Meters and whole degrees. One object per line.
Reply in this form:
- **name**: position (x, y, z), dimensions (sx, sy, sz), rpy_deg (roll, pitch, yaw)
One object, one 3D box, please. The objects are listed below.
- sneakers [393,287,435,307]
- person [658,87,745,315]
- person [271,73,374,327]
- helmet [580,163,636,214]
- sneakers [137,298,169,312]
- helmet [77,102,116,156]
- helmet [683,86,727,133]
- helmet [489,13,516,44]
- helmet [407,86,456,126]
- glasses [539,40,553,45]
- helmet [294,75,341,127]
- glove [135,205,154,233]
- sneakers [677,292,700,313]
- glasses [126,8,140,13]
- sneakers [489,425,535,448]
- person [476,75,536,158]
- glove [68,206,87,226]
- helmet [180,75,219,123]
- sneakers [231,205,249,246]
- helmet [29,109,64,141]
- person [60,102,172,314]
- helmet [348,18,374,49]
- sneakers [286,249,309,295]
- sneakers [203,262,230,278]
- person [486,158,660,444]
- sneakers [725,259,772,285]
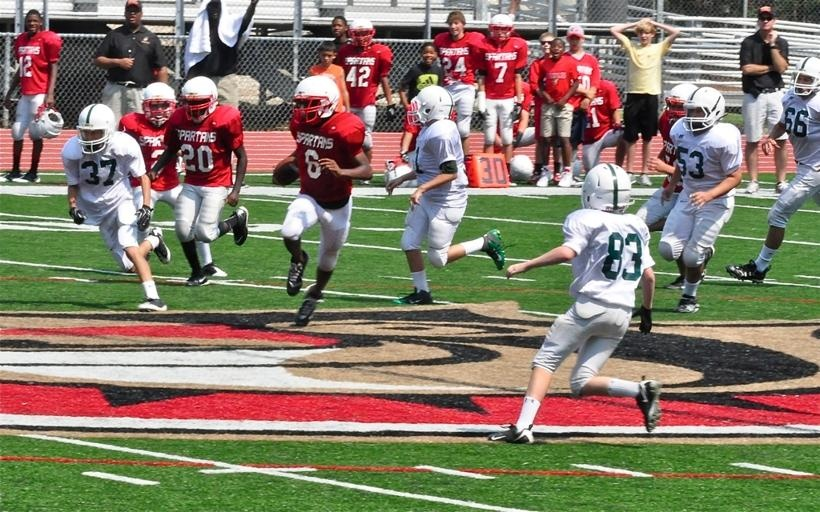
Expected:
- **sneakers**: position (0.045, 0.390, 13.136), dimensions (0.368, 0.159, 0.243), rpy_deg (3, 7, -1)
- **person**: position (2.810, -0.533, 12.998), dimensions (0.688, 2.156, 0.882), rpy_deg (6, 8, 1)
- **person**: position (-0.819, -0.510, 12.335), dimensions (0.835, 2.259, 0.855), rpy_deg (5, 8, -6)
- **helmet**: position (1.485, -0.493, 10.110), dimensions (0.476, 0.293, 0.438), rpy_deg (1, 5, 19)
- **sneakers**: position (-2.386, 0.452, 12.574), dimensions (0.283, 0.130, 0.168), rpy_deg (0, 8, -28)
- **helmet**: position (-3.042, -1.213, 13.056), dimensions (0.336, 0.473, 0.290), rpy_deg (4, 8, -11)
- **helmet**: position (2.810, -1.373, 12.832), dimensions (0.370, 0.420, 0.221), rpy_deg (6, 8, 7)
- **helmet**: position (1.317, -3.250, 19.427), dimensions (0.323, 0.404, 0.407), rpy_deg (5, 7, 1)
- **helmet**: position (0.214, -1.426, 12.964), dimensions (0.396, 0.381, 0.228), rpy_deg (4, 8, -2)
- **glasses**: position (2.033, -3.144, 20.009), dimensions (0.104, 0.024, 0.110), rpy_deg (2, 1, 45)
- **helmet**: position (-0.837, -1.391, 12.123), dimensions (0.401, 0.430, 0.287), rpy_deg (4, 8, -4)
- **glove**: position (-2.536, -0.348, 12.904), dimensions (0.291, 0.244, 0.126), rpy_deg (-2, -13, -20)
- **sneakers**: position (2.673, 0.475, 12.970), dimensions (0.132, 0.099, 0.299), rpy_deg (-1, 0, 28)
- **glasses**: position (-3.717, -3.269, 18.078), dimensions (0.128, 0.033, 0.139), rpy_deg (-1, 1, 0)
- **sneakers**: position (0.744, 1.278, 9.709), dimensions (0.401, 0.101, 0.115), rpy_deg (3, -5, 9)
- **person**: position (1.497, -2.021, 20.329), dimensions (0.817, 1.082, 0.507), rpy_deg (2, 1, 13)
- **glove**: position (-3.219, -0.403, 13.024), dimensions (0.120, 0.088, 0.254), rpy_deg (1, 22, -37)
- **helmet**: position (-2.071, -1.517, 13.206), dimensions (0.336, 0.432, 0.327), rpy_deg (4, 8, -7)
- **sneakers**: position (-1.761, -0.309, 13.904), dimensions (0.277, 0.387, 0.167), rpy_deg (-2, 15, -8)
- **helmet**: position (-4.946, -1.790, 18.383), dimensions (0.365, 0.412, 0.466), rpy_deg (3, 7, -15)
- **person**: position (-2.774, -0.515, 12.993), dimensions (1.200, 1.828, 0.663), rpy_deg (11, 10, 38)
- **helmet**: position (-0.685, -3.119, 19.013), dimensions (0.328, 0.400, 0.408), rpy_deg (4, 7, -6)
- **sneakers**: position (-1.030, 0.159, 12.569), dimensions (0.216, 0.398, 0.201), rpy_deg (11, -6, 11)
- **sneakers**: position (-2.032, 0.163, 14.035), dimensions (0.291, 0.074, 0.130), rpy_deg (4, 8, 28)
- **person**: position (1.339, 0.330, 9.972), dimensions (1.262, 1.997, 1.054), rpy_deg (6, 8, 7)
- **sneakers**: position (3.555, 0.173, 14.213), dimensions (0.616, 0.202, 0.185), rpy_deg (12, 9, -5)
